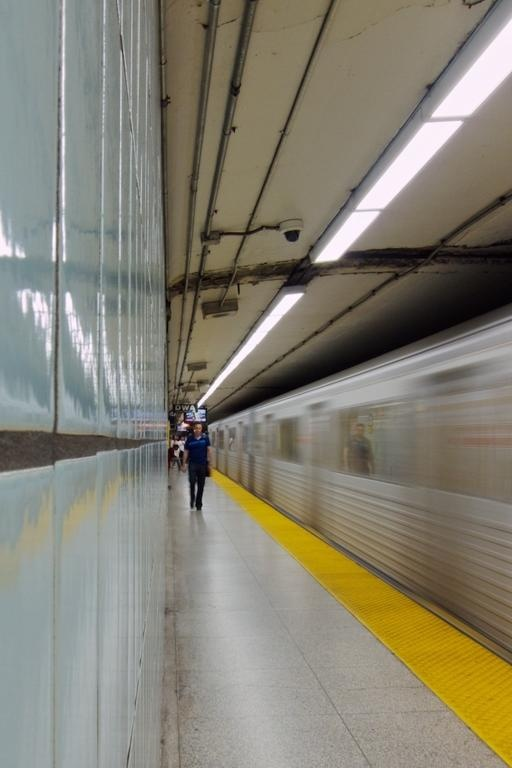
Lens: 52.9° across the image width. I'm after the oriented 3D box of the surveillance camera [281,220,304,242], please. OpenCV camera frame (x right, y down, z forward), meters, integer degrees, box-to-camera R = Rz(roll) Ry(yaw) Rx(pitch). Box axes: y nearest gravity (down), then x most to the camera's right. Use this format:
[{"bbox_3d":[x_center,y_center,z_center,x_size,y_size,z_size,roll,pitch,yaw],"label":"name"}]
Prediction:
[{"bbox_3d":[0.376,-1.664,5.517,0.162,0.171,0.184,-2,-12,-3],"label":"surveillance camera"}]
